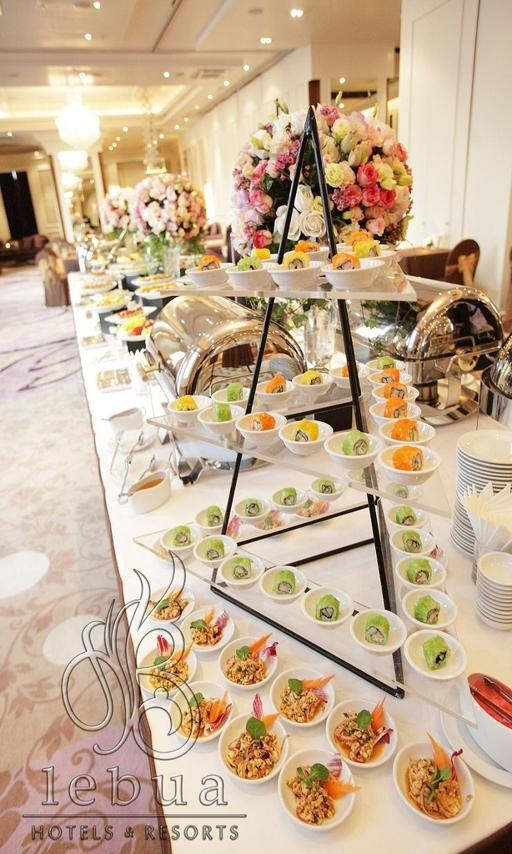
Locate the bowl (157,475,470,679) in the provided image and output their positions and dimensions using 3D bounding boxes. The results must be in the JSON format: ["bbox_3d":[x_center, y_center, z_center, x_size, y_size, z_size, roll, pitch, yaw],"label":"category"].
[{"bbox_3d":[0.064,0.260,0.951,0.324,0.082,0.300,-10,26,5],"label":"bowl"}]

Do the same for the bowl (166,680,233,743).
[{"bbox_3d":[-0.084,0.414,0.838,0.095,0.040,0.103,-5,20,2],"label":"bowl"}]

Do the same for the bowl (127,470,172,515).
[{"bbox_3d":[-0.264,0.156,1.423,0.061,0.045,0.115,13,35,28],"label":"bowl"}]

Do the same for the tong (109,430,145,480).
[{"bbox_3d":[-0.389,0.079,1.721,0.069,0.021,0.141,-8,53,39],"label":"tong"}]

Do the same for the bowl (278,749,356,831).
[{"bbox_3d":[0.079,0.452,0.702,0.066,0.029,0.067,-2,24,1],"label":"bowl"}]

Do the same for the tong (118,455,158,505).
[{"bbox_3d":[-0.316,0.130,1.542,0.038,0.047,0.202,-11,26,28],"label":"tong"}]

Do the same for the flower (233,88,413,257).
[{"bbox_3d":[0.153,-0.606,1.602,0.454,0.497,0.500,1,40,-9],"label":"flower"}]

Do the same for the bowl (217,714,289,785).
[{"bbox_3d":[-0.006,0.434,0.769,0.092,0.027,0.106,-3,20,5],"label":"bowl"}]

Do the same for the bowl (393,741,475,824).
[{"bbox_3d":[0.215,0.430,0.693,0.089,0.037,0.098,-5,20,2],"label":"bowl"}]

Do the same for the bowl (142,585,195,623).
[{"bbox_3d":[-0.164,0.317,1.046,0.057,0.026,0.061,-8,19,3],"label":"bowl"}]

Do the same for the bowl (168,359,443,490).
[{"bbox_3d":[0.070,-0.005,1.118,0.414,0.177,0.528,-11,20,-32],"label":"bowl"}]

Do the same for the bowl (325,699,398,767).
[{"bbox_3d":[0.142,0.413,0.776,0.093,0.049,0.107,-5,20,0],"label":"bowl"}]

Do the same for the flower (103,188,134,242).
[{"bbox_3d":[-0.983,-1.560,4.024,0.217,0.345,0.850,-9,20,-9],"label":"flower"}]
